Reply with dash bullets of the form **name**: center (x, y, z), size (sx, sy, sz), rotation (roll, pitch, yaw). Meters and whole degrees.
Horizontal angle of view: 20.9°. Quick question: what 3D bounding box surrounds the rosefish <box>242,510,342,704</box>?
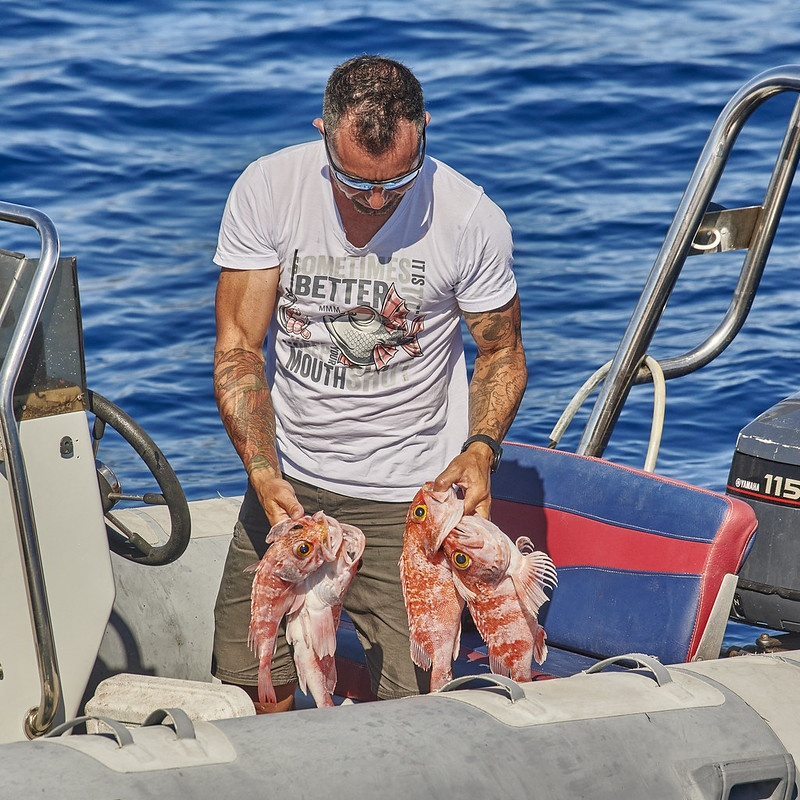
- **rosefish**: center (-0.356, 0.687, 7.186), size (0.255, 0.621, 0.261), rotation (2, 35, -36)

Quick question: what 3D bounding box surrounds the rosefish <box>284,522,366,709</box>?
- **rosefish**: center (-0.254, 0.718, 7.175), size (0.180, 0.745, 0.311), rotation (6, -7, 1)

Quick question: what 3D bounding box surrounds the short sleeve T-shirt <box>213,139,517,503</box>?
- **short sleeve T-shirt**: center (-0.116, -0.239, 7.264), size (1.154, 1.111, 0.569), rotation (7, 25, 2)

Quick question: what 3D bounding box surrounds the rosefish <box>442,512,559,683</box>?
- **rosefish**: center (0.319, 0.652, 7.146), size (0.346, 0.577, 0.152), rotation (-1, 12, 1)

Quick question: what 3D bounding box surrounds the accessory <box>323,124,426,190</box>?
- **accessory**: center (-0.087, -0.793, 7.095), size (0.336, 0.204, 0.212), rotation (-2, 12, -2)

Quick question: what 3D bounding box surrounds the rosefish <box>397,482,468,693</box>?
- **rosefish**: center (0.110, 0.621, 7.138), size (0.277, 0.690, 0.204), rotation (0, 9, -1)

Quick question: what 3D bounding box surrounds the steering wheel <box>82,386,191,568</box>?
- **steering wheel**: center (-1.074, 0.324, 8.745), size (0.076, 0.588, 0.583), rotation (-33, 44, -32)

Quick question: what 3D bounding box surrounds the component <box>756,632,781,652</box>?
- **component**: center (1.341, 0.868, 7.830), size (0.060, 0.053, 0.091), rotation (-1, -6, 17)
